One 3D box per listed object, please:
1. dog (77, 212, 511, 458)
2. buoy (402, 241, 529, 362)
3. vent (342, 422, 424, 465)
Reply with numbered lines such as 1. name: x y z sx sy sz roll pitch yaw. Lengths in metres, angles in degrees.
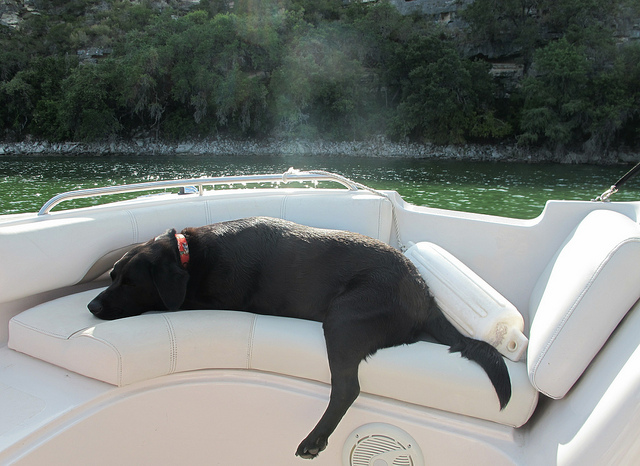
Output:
1. dog: -0.147 0.622 2.444 2.080 0.951 1.150 5 48 4
2. buoy: 0.690 0.308 2.226 0.613 0.450 0.645 6 14 -9
3. vent: 0.285 0.944 1.888 0.348 0.203 0.078 5 27 5
